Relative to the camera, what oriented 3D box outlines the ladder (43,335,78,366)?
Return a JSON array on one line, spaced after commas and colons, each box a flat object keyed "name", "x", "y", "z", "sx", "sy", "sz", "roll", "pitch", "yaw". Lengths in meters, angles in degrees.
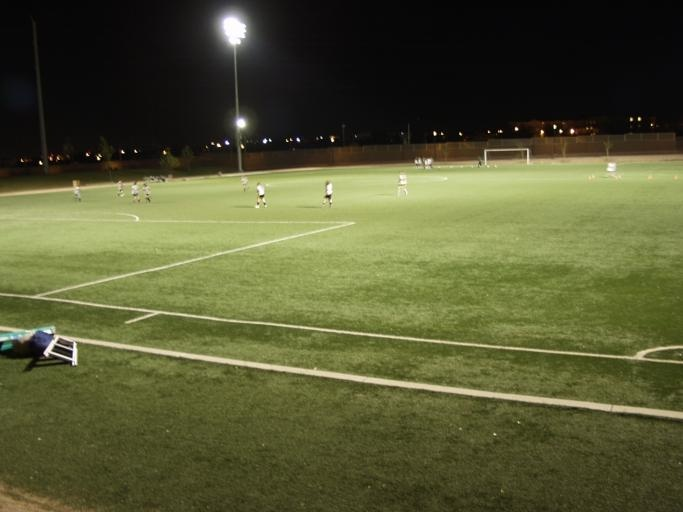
[{"name": "ladder", "x": -4.393, "y": 1.486, "z": 9.249, "sx": 0.412, "sy": 0.165, "sz": 0.632, "roll": 19, "pitch": 16, "yaw": -39}]
